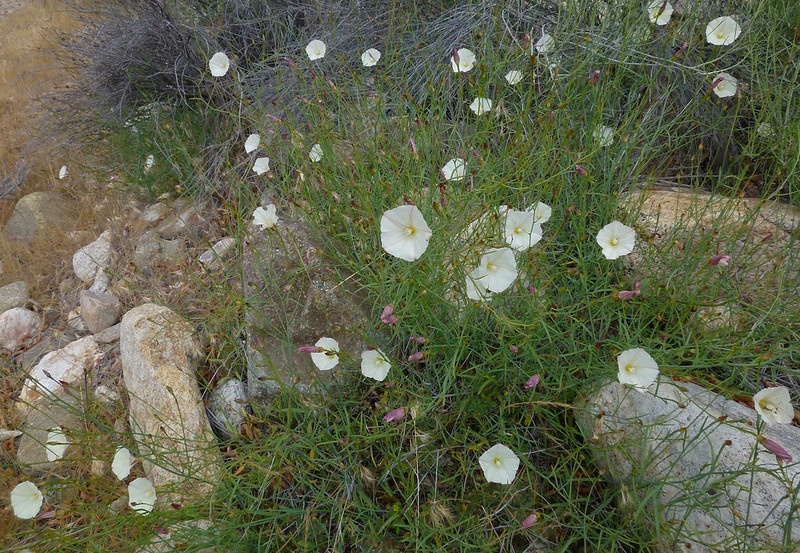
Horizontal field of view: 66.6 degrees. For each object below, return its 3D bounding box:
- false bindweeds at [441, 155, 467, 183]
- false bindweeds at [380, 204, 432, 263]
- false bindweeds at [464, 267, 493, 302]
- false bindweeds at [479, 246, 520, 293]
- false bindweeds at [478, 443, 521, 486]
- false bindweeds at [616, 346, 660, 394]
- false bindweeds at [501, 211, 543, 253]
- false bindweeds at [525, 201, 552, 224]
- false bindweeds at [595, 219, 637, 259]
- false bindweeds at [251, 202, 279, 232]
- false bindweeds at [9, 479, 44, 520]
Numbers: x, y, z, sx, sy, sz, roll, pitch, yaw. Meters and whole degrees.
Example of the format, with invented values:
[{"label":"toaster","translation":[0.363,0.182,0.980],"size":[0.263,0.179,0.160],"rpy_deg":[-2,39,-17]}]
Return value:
[{"label":"false bindweeds","translation":[0.305,-0.606,3.502],"size":[0.151,0.074,0.180],"rpy_deg":[-17,80,13]},{"label":"false bindweeds","translation":[0.036,-0.195,3.023],"size":[0.246,0.202,0.263],"rpy_deg":[-19,65,9]},{"label":"false bindweeds","translation":[0.392,0.054,3.173],"size":[0.151,0.053,0.147],"rpy_deg":[48,114,12]},{"label":"false bindweeds","translation":[0.489,-0.029,3.079],"size":[0.187,0.101,0.193],"rpy_deg":[-11,67,13]},{"label":"false bindweeds","translation":[0.521,0.992,3.187],"size":[0.191,0.272,0.183],"rpy_deg":[7,70,18]},{"label":"false bindweeds","translation":[1.186,0.471,3.076],"size":[0.189,0.105,0.210],"rpy_deg":[36,89,20]},{"label":"false bindweeds","translation":[0.673,-0.221,3.325],"size":[0.189,0.338,0.256],"rpy_deg":[-4,67,14]},{"label":"false bindweeds","translation":[0.793,-0.367,3.457],"size":[0.131,0.067,0.142],"rpy_deg":[46,103,13]},{"label":"false bindweeds","translation":[1.168,-0.194,3.304],"size":[0.185,0.079,0.212],"rpy_deg":[-34,77,-1]},{"label":"false bindweeds","translation":[-0.804,-0.362,3.681],"size":[0.153,0.095,0.203],"rpy_deg":[0,78,5]},{"label":"false bindweeds","translation":[-1.968,1.196,3.256],"size":[0.188,0.175,0.183],"rpy_deg":[0,69,17]}]
